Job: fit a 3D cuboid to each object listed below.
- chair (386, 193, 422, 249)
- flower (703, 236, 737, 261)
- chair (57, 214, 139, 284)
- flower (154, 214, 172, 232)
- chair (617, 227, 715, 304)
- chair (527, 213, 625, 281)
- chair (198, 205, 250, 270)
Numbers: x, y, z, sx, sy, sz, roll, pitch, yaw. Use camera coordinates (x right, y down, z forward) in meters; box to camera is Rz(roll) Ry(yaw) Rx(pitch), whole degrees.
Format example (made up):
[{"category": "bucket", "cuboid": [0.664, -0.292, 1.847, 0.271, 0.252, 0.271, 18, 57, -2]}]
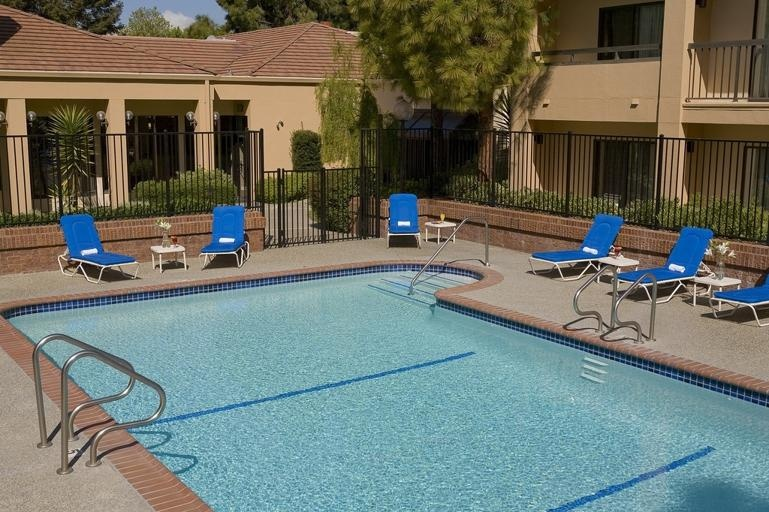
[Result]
[{"category": "chair", "cuboid": [0.605, -1.019, 17.583, 1.023, 1.430, 1.680, -1, 14, -2]}, {"category": "flower", "cuboid": [7.353, -0.123, 12.500, 0.592, 0.418, 0.611, 2, 0, 4]}, {"category": "chair", "cuboid": [-7.190, -0.166, 14.356, 1.898, 1.409, 1.084, 11, 13, 29]}, {"category": "flower", "cuboid": [-5.996, -0.841, 15.556, 0.486, 0.520, 0.502, 0, 1, -26]}, {"category": "chair", "cuboid": [6.153, 0.194, 12.581, 2.272, 1.411, 0.874, -7, 11, -25]}, {"category": "chair", "cuboid": [4.862, -0.204, 14.415, 2.120, 1.387, 1.192, -7, 11, -20]}, {"category": "chair", "cuboid": [-4.332, -0.465, 15.569, 1.031, 1.469, 1.649, 1, 15, -2]}]
